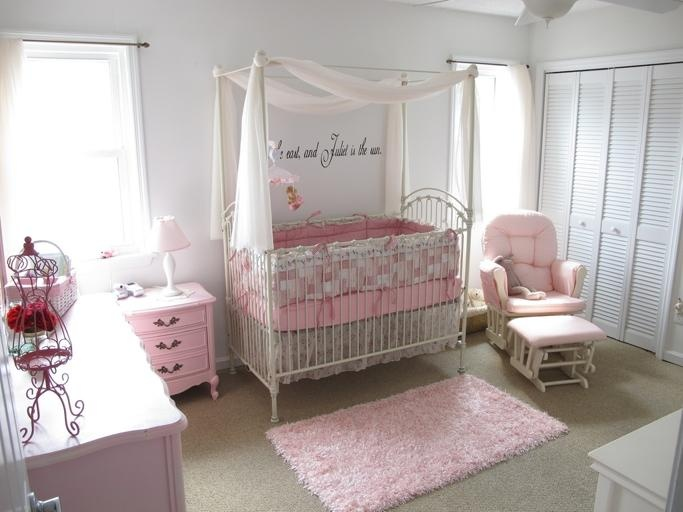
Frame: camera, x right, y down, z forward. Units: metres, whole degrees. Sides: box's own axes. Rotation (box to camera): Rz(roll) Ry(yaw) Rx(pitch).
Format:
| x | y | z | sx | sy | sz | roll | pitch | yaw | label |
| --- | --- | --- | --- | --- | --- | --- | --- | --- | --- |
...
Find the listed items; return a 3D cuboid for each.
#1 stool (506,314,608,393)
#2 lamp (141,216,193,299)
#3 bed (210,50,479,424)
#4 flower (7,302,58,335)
| x | y | z | sx | sy | sz | roll | pitch | yaw | label |
| --- | --- | --- | --- | --- | --- | --- | --- | --- | --- |
| 1.785 | 0.701 | 4.391 | 0.682 | 0.506 | 0.567 | -9 | 22 | -13 | stool |
| -1.361 | -0.001 | 4.030 | 0.355 | 0.658 | 0.362 | 21 | 30 | 39 | lamp |
| -0.043 | -0.108 | 4.174 | 2.295 | 2.895 | 1.361 | -9 | 20 | -25 | bed |
| -1.510 | 0.306 | 2.540 | 0.177 | 0.132 | 0.185 | 3 | 7 | 24 | flower |
